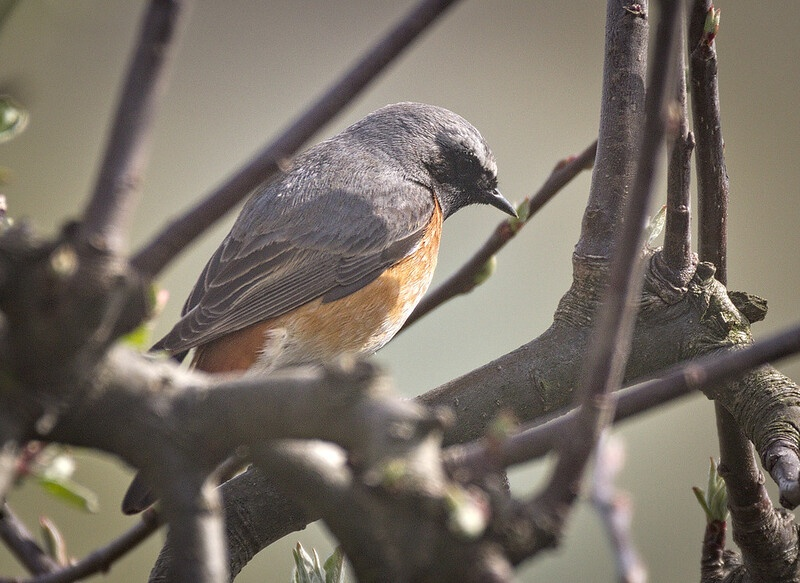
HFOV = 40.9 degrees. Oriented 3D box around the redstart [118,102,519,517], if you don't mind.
[{"bbox_3d":[-0.319,-0.059,3.688,1.319,1.142,0.605,0,-2,-12],"label":"redstart"}]
